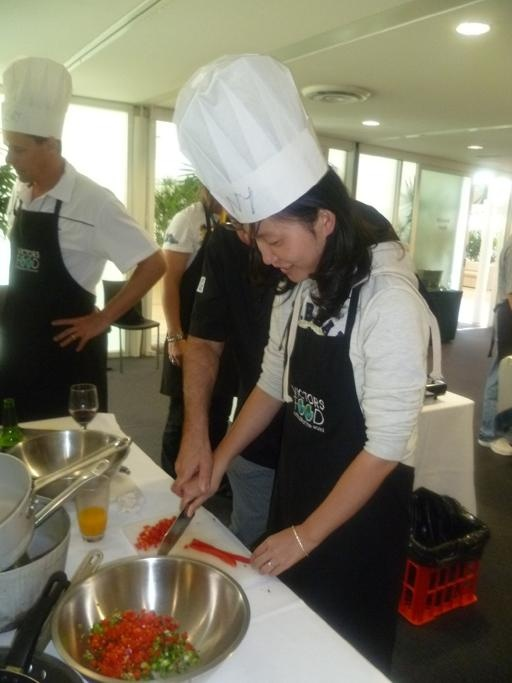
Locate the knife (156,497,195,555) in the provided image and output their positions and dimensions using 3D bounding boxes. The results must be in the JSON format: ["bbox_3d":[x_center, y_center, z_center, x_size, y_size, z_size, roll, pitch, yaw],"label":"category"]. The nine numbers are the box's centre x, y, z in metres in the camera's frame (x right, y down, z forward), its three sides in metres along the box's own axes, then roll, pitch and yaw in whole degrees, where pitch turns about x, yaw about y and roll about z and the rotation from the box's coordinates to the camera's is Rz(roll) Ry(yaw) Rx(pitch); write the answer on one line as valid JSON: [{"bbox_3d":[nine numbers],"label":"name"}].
[{"bbox_3d":[-0.150,0.338,0.963,0.019,0.006,0.130,29,23,5],"label":"knife"}]

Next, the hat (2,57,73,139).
[{"bbox_3d":[-0.778,-0.825,1.961,0.269,0.264,0.300,4,-1,-30],"label":"hat"}]

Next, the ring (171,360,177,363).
[{"bbox_3d":[-0.380,0.092,2.449,0.018,0.004,0.019,16,23,-7],"label":"ring"}]

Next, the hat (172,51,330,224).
[{"bbox_3d":[-0.010,-0.356,0.952,0.278,0.282,0.184,5,10,6],"label":"hat"}]

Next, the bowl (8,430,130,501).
[{"bbox_3d":[-0.431,0.284,1.225,0.207,0.043,0.150,1,8,-12],"label":"bowl"}]

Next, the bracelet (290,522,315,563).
[{"bbox_3d":[0.081,0.364,0.967,0.015,0.058,0.049,-33,-18,-4],"label":"bracelet"}]

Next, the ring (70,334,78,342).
[{"bbox_3d":[-0.661,-0.012,1.907,0.022,0.022,0.013,10,-28,-5],"label":"ring"}]

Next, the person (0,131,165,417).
[{"bbox_3d":[-0.653,-0.213,1.965,0.521,1.000,0.239,0,11,-17],"label":"person"}]

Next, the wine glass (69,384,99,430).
[{"bbox_3d":[-0.469,0.185,1.427,0.069,0.145,0.177,0,11,-19],"label":"wine glass"}]

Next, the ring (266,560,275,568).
[{"bbox_3d":[0.024,0.381,0.904,0.010,0.003,0.007,29,19,10],"label":"ring"}]
